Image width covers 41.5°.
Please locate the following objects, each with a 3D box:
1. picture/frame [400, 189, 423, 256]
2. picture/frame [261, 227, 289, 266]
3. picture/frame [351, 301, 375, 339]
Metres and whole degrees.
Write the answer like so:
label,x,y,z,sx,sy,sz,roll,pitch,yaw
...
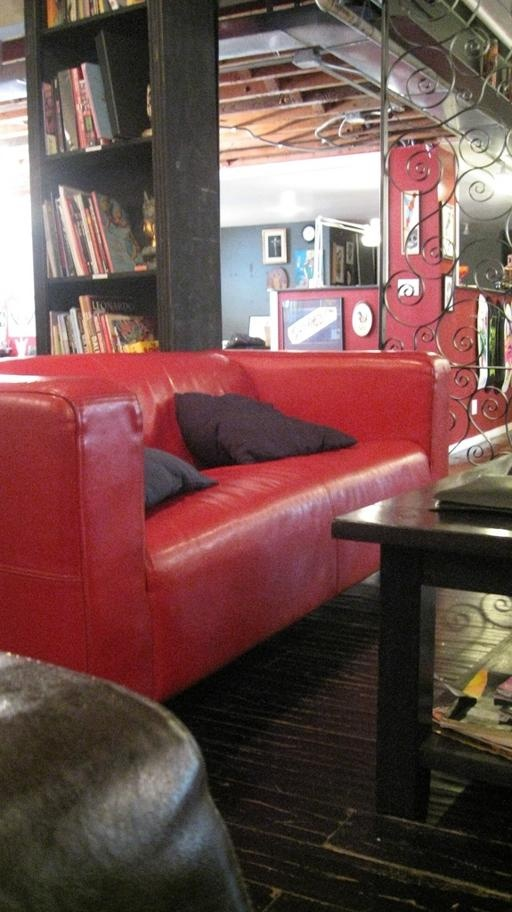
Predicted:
label,x,y,z,sx,sy,sz,roll,pitch,yaw
picture/frame,1.338,-2.020,5.852,0.160,0.537,0.171,0,4,13
picture/frame,0.381,-3.960,12.654,0.599,0.816,0.056,6,11,27
picture/frame,1.173,-1.506,7.455,0.078,0.382,0.277,-5,6,-43
